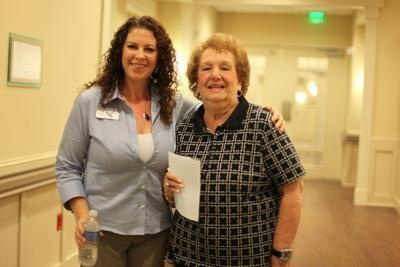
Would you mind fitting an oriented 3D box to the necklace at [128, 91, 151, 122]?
[{"bbox_3d":[-0.394,-0.206,2.121,0.201,0.215,0.202,-3,10,2],"label":"necklace"}]

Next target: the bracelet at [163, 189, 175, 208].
[{"bbox_3d":[-0.202,0.431,2.031,0.080,0.103,0.096,-12,-10,25],"label":"bracelet"}]

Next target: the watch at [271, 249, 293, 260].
[{"bbox_3d":[0.515,0.744,1.880,0.080,0.038,0.081,1,-3,-16],"label":"watch"}]
